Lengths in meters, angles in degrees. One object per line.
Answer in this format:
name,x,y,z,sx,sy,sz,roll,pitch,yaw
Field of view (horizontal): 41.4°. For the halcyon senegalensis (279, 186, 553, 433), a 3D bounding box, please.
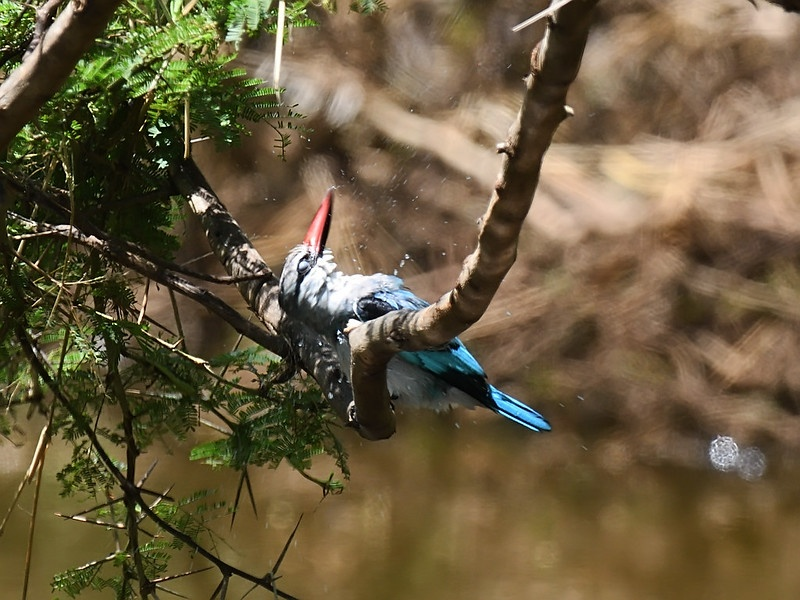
halcyon senegalensis,0.079,0.083,4.146,1.156,0.392,0.801,7,-82,-13
